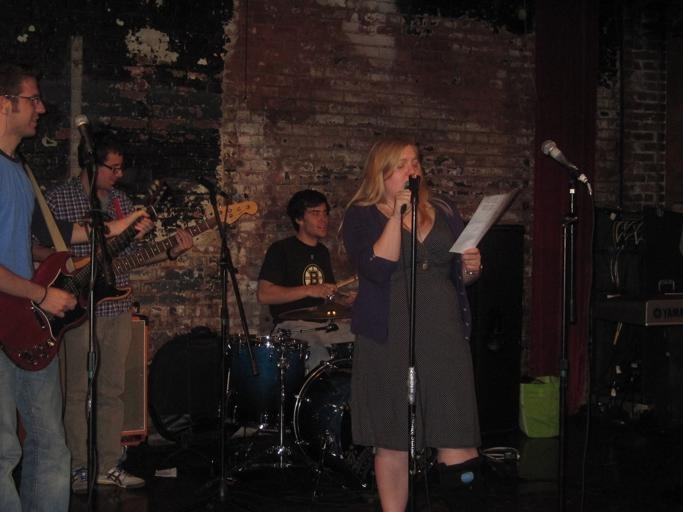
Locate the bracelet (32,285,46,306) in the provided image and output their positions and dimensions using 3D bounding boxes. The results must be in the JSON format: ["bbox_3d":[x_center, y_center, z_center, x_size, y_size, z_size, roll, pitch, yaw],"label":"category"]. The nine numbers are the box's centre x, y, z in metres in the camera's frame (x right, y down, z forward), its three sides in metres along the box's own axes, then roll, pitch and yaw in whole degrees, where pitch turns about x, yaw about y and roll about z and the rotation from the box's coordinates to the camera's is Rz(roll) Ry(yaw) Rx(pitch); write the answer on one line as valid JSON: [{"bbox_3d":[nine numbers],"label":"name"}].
[{"bbox_3d":[-1.594,0.203,4.910,0.081,0.087,0.021,-7,11,-10],"label":"bracelet"}]

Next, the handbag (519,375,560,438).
[{"bbox_3d":[1.572,1.103,6.829,0.345,0.450,0.296,1,-9,45],"label":"handbag"}]

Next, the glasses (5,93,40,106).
[{"bbox_3d":[-1.687,-0.846,4.879,0.206,0.049,0.050,3,-4,-36],"label":"glasses"}]

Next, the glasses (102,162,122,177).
[{"bbox_3d":[-1.497,-0.569,5.953,0.073,0.023,0.073,35,16,26],"label":"glasses"}]

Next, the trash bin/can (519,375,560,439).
[{"bbox_3d":[1.447,1.119,6.757,0.275,0.392,0.129,0,-3,8],"label":"trash bin/can"}]

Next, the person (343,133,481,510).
[{"bbox_3d":[0.367,0.346,4.761,0.731,1.939,0.408,0,-3,1],"label":"person"}]

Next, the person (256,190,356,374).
[{"bbox_3d":[-0.192,0.279,6.621,0.743,1.476,0.841,0,7,-23],"label":"person"}]

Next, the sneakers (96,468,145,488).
[{"bbox_3d":[-1.408,1.401,5.864,0.250,0.102,0.126,1,-5,1],"label":"sneakers"}]

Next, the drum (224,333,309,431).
[{"bbox_3d":[-0.462,0.806,6.058,0.561,0.551,0.554,1,1,1],"label":"drum"}]

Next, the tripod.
[{"bbox_3d":[-0.433,1.022,5.945,0.687,0.936,0.751,-7,18,-28],"label":"tripod"}]

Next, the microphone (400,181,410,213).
[{"bbox_3d":[0.324,-0.307,4.631,0.036,0.167,0.047,1,1,-6],"label":"microphone"}]

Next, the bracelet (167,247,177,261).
[{"bbox_3d":[-1.149,-0.025,6.259,0.021,0.061,0.088,1,9,-39],"label":"bracelet"}]
